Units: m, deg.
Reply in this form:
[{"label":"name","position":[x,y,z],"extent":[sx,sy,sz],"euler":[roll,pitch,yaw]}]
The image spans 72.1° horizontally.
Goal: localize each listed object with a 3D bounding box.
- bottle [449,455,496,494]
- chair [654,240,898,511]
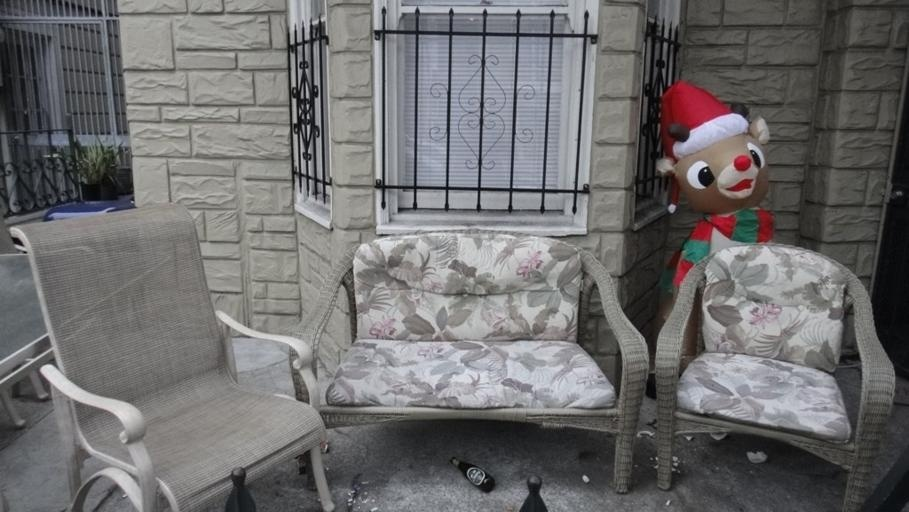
[{"label":"bottle","position":[0.099,1.374,3.950],"extent":[0.325,0.097,0.116],"euler":[27,49,34]},{"label":"chair","position":[1.926,0.689,4.401],"extent":[1.522,1.560,1.673],"euler":[6,27,20]}]
